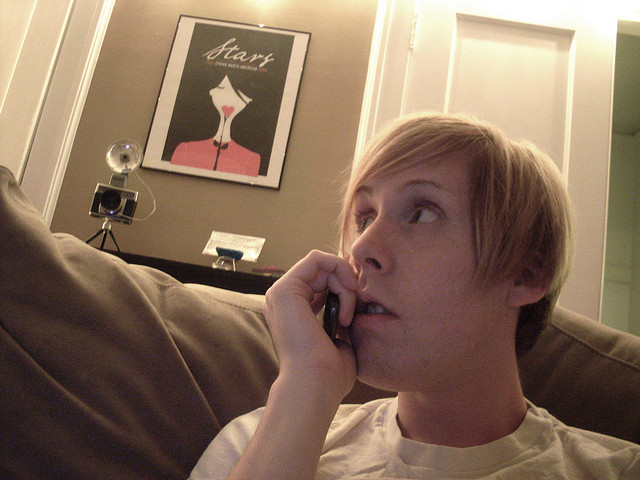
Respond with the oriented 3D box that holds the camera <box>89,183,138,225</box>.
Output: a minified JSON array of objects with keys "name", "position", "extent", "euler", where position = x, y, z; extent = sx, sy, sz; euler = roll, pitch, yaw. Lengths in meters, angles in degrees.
[{"name":"camera","position":[-1.083,-0.184,2.872],"extent":[0.197,0.193,0.109],"euler":[12,-12,-4]}]
